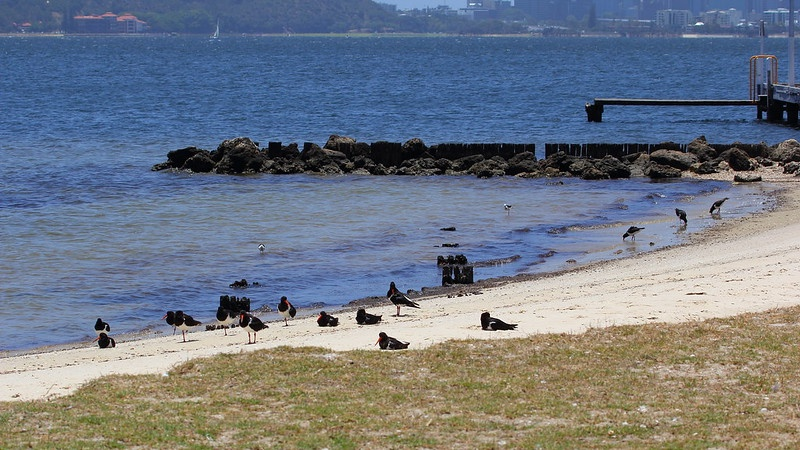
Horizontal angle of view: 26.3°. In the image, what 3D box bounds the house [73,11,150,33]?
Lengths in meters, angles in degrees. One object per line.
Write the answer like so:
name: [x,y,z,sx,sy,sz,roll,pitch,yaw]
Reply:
house: [-132.646,-90.818,777.155,29.490,8.389,8.267,-5,11,-22]
